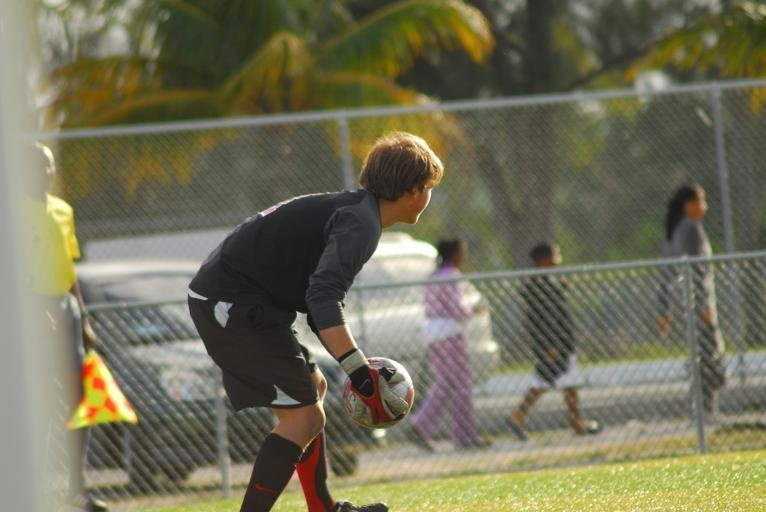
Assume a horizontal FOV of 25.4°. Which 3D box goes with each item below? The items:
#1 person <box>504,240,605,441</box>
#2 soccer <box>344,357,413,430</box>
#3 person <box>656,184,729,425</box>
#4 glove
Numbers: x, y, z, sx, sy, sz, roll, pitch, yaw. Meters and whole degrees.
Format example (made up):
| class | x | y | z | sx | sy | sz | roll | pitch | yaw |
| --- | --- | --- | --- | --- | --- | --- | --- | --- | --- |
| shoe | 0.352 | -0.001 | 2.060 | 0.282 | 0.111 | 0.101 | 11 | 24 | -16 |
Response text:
| class | x | y | z | sx | sy | sz | roll | pitch | yaw |
| --- | --- | --- | --- | --- | --- | --- | --- | --- | --- |
| person | 1.678 | 1.049 | 17.831 | 0.730 | 1.764 | 0.315 | -5 | 5 | 5 |
| soccer | -0.069 | 1.252 | 15.656 | 0.573 | 0.633 | 0.620 | 4 | 11 | 18 |
| person | 3.250 | 0.429 | 18.018 | 0.620 | 2.375 | 0.767 | -4 | 5 | 11 |
| glove | -0.044 | 1.273 | 15.653 | 0.633 | 0.666 | 0.358 | -6 | 5 | -3 |
